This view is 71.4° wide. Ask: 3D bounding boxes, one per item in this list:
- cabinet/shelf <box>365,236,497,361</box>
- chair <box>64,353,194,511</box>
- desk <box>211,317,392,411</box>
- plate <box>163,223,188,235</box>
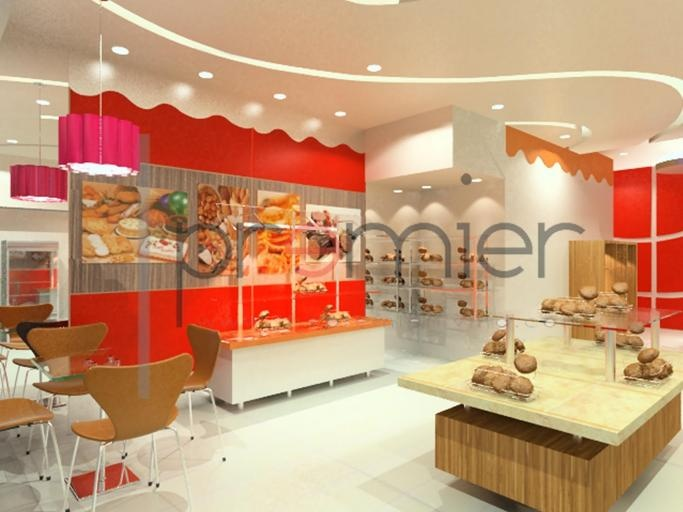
[{"bbox_3d":[1.357,0.585,7.018,0.677,1.546,2.033,-3,4,-43],"label":"cabinet/shelf"},{"bbox_3d":[-1.548,1.245,3.447,0.808,1.189,0.875,-7,11,-34],"label":"chair"},{"bbox_3d":[-0.462,1.190,5.622,2.059,0.823,0.347,-6,11,-35],"label":"desk"},{"bbox_3d":[-1.870,-0.293,5.296,0.031,0.128,0.298,5,9,28],"label":"plate"}]
